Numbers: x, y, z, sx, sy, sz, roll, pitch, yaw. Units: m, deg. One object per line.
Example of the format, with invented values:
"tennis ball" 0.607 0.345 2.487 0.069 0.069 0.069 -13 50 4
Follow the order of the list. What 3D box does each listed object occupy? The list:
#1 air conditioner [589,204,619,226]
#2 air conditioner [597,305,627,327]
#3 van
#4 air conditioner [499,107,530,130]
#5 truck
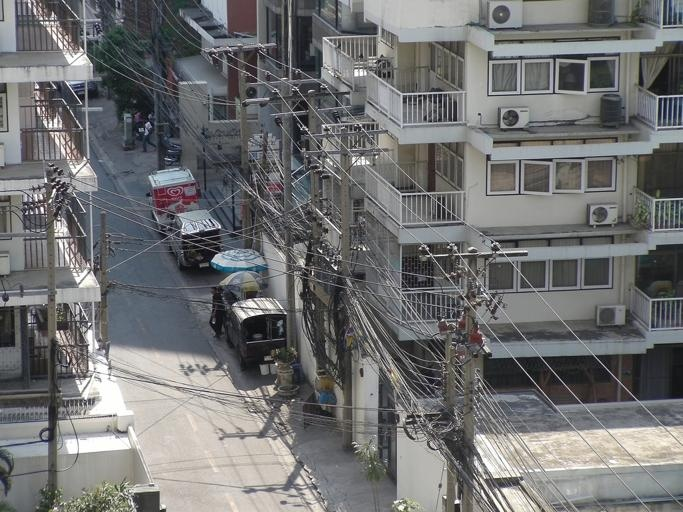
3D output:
"air conditioner" 9.092 -1.533 64.774 1.169 1.069 0.648 -1 5 1
"air conditioner" 9.413 1.947 65.443 1.166 0.944 0.647 1 1 -4
"van" -5.931 -0.904 78.223 1.856 1.875 3.022 -6 35 -14
"air conditioner" 5.891 -4.530 64.171 1.115 0.880 0.674 -1 3 -4
"truck" -7.265 -2.664 81.387 1.755 1.873 2.963 -6 26 -12
